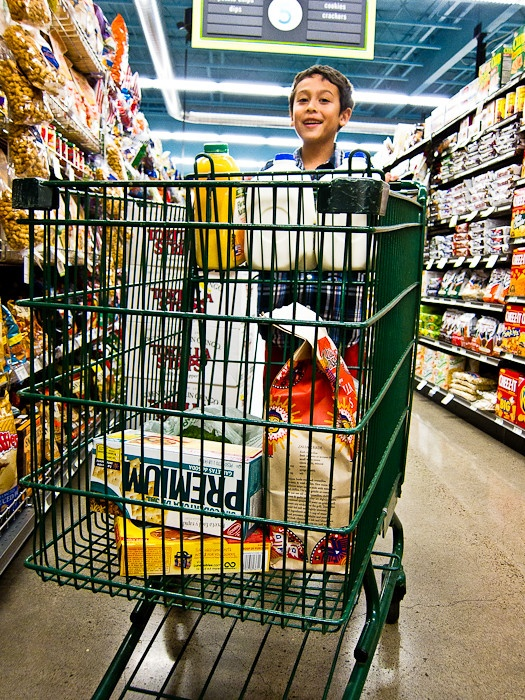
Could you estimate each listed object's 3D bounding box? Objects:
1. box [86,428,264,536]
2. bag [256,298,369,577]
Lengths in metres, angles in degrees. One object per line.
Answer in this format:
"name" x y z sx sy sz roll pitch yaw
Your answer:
"box" -0.142 0.211 0.885 0.258 0.136 0.090 6 8 14
"bag" 0.105 0.108 0.903 0.143 0.457 0.297 0 22 13
